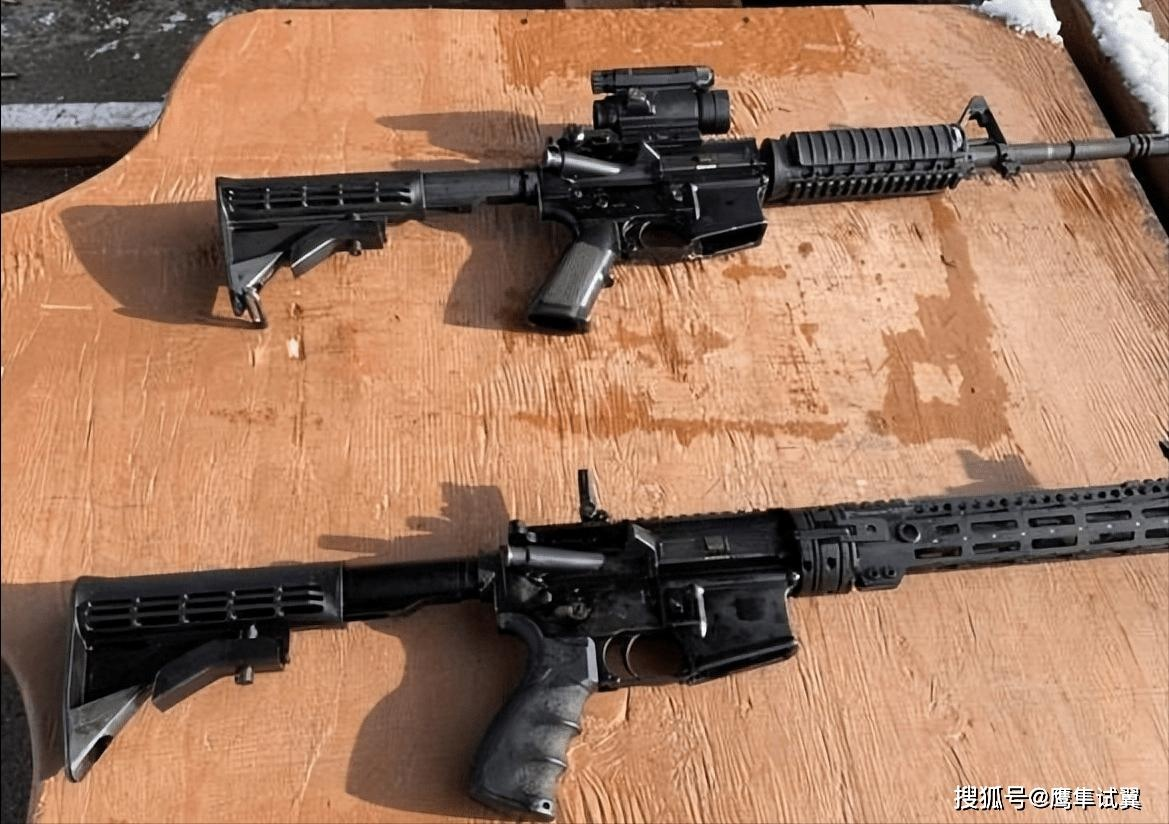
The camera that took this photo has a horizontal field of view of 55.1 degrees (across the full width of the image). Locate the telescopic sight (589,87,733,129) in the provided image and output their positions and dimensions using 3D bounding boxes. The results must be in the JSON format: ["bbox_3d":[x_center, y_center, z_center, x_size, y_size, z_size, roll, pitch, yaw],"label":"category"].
[{"bbox_3d":[0.547,-2.019,7.622,1.119,0.357,0.265,-1,57,-4],"label":"telescopic sight"}]
